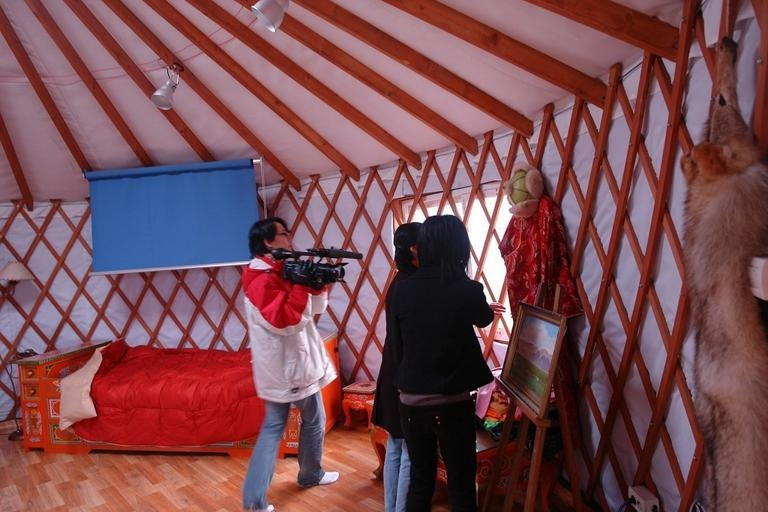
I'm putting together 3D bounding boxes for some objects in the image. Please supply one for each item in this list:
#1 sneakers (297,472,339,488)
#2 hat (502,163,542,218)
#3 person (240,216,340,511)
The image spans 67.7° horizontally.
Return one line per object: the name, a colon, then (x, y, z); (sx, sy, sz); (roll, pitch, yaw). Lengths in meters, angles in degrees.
sneakers: (-0.448, 1.463, 3.869); (0.252, 0.111, 0.102); (-4, -2, -21)
hat: (0.925, -0.449, 3.782); (0.266, 0.302, 0.325); (5, -30, 25)
person: (-0.646, 0.682, 3.589); (0.703, 1.821, 0.483); (-9, 12, -26)
